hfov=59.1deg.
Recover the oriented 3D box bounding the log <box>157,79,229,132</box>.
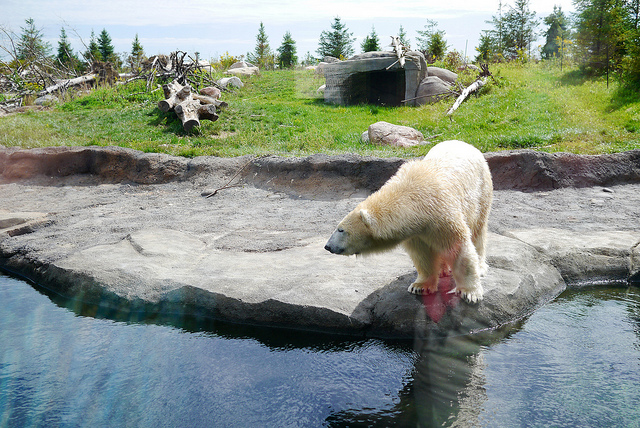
[{"bbox_3d":[-4.327,-3.592,18.775,1.957,1.257,2.803,-3,19,-11],"label":"log"}]

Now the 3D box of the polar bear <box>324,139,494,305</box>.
[{"bbox_3d":[1.678,0.174,8.973,1.610,2.216,3.231,0,13,39],"label":"polar bear"}]

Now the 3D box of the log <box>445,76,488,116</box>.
[{"bbox_3d":[5.620,-4.491,21.093,0.569,0.924,4.282,10,20,25],"label":"log"}]

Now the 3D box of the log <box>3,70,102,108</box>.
[{"bbox_3d":[-11.753,-5.507,24.946,6.154,0.817,0.884,-26,59,-38],"label":"log"}]
